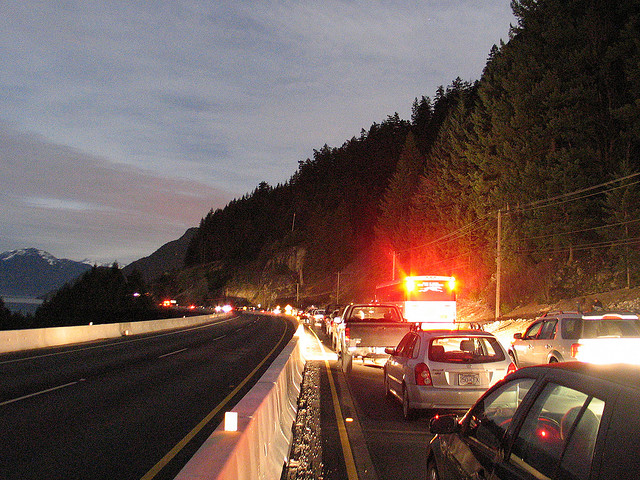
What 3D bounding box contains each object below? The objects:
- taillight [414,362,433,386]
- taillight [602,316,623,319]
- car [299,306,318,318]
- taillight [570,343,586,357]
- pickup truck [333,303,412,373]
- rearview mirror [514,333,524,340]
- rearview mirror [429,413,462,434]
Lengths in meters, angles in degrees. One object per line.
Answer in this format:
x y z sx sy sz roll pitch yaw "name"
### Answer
2.011 2.628 9.407 0.321 0.408 0.213 -2 -4 13 "taillight"
7.450 2.004 12.319 0.545 0.082 0.099 0 -5 -17 "taillight"
-1.533 8.967 61.522 1.947 1.560 3.001 2 -15 -23 "car"
6.465 2.787 12.122 0.274 0.276 0.279 0 0 29 "taillight"
1.616 3.559 17.831 1.729 1.613 3.341 0 -3 -5 "pickup truck"
6.390 3.127 15.525 0.270 0.202 0.371 -3 -5 16 "rearview mirror"
1.200 1.777 4.592 0.287 0.217 0.189 -3 -4 16 "rearview mirror"
